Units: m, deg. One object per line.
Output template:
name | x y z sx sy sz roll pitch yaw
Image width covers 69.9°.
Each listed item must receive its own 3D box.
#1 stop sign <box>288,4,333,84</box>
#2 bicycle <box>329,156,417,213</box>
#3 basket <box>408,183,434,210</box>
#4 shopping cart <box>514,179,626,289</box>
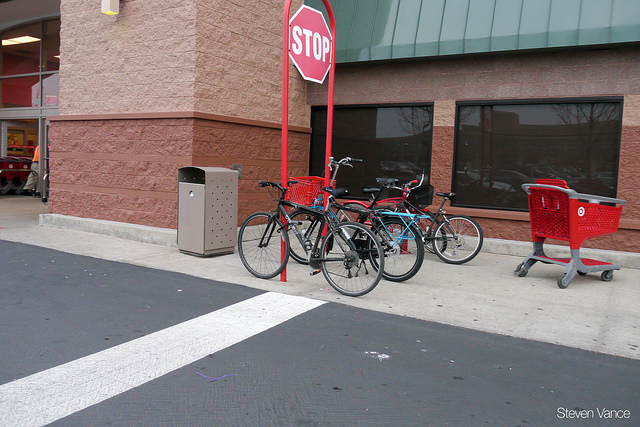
stop sign | -0.149 -2.697 7.309 0.354 1.140 1.019 12 16 33
bicycle | 0.930 -0.581 8.875 1.559 0.868 1.224 5 3 27
basket | 1.938 -0.335 8.859 0.509 0.325 0.285 -17 30 -29
shopping cart | 4.501 0.144 7.979 1.648 2.058 1.721 0 5 -29
